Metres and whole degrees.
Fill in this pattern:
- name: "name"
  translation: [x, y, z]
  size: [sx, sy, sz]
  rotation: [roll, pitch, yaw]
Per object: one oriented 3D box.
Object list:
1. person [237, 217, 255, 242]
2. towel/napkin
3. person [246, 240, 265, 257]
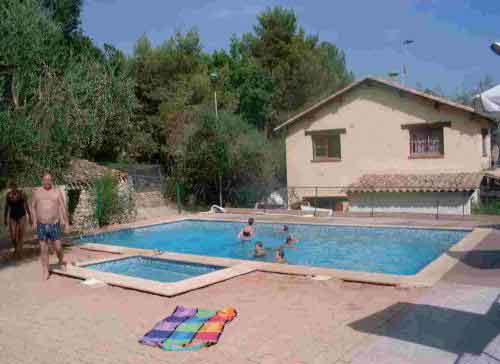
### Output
- name: "person"
  translation: [-0.105, 2.011, 17.726]
  size: [0.478, 1.074, 0.948]
  rotation: [-5, 6, -39]
- name: "towel/napkin"
  translation: [-1.212, 2.908, 8.444]
  size: [1.614, 0.294, 1.445]
  rotation: [-1, 4, 10]
- name: "person"
  translation: [0.205, 2.516, 15.455]
  size: [0.631, 0.771, 0.468]
  rotation: [-2, -4, 14]
